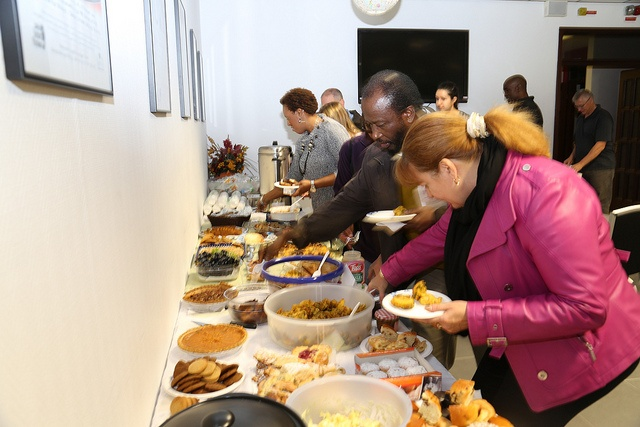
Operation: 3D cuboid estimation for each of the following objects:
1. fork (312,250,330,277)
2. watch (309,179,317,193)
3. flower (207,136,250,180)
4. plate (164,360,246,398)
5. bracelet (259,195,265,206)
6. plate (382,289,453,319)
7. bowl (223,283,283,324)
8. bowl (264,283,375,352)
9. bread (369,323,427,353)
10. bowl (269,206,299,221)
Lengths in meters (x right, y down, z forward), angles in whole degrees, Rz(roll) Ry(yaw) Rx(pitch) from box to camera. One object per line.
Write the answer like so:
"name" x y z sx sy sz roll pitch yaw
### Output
"fork" 0.007 0.215 1.753 0.027 0.020 0.165 -11 16 24
"watch" -0.062 -0.218 3.277 0.055 0.088 0.080 -2 12 -10
"flower" -1.112 -0.628 4.855 0.544 0.623 0.575 5 5 -12
"plate" -0.370 0.505 1.250 0.238 0.062 0.149 2 16 19
"bracelet" -0.501 -0.120 3.460 0.052 0.074 0.069 1 -6 -1
"plate" 0.309 0.299 1.269 0.134 0.022 0.132 -9 18 -20
"bowl" -0.294 0.367 1.685 0.159 0.083 0.165 -1 12 0
"bowl" -0.013 0.390 1.547 0.404 0.173 0.430 0 6 0
"bread" 0.263 0.436 1.388 0.113 0.038 0.112 -5 9 -21
"bowl" -0.289 0.002 3.125 0.142 0.057 0.148 -3 10 1
